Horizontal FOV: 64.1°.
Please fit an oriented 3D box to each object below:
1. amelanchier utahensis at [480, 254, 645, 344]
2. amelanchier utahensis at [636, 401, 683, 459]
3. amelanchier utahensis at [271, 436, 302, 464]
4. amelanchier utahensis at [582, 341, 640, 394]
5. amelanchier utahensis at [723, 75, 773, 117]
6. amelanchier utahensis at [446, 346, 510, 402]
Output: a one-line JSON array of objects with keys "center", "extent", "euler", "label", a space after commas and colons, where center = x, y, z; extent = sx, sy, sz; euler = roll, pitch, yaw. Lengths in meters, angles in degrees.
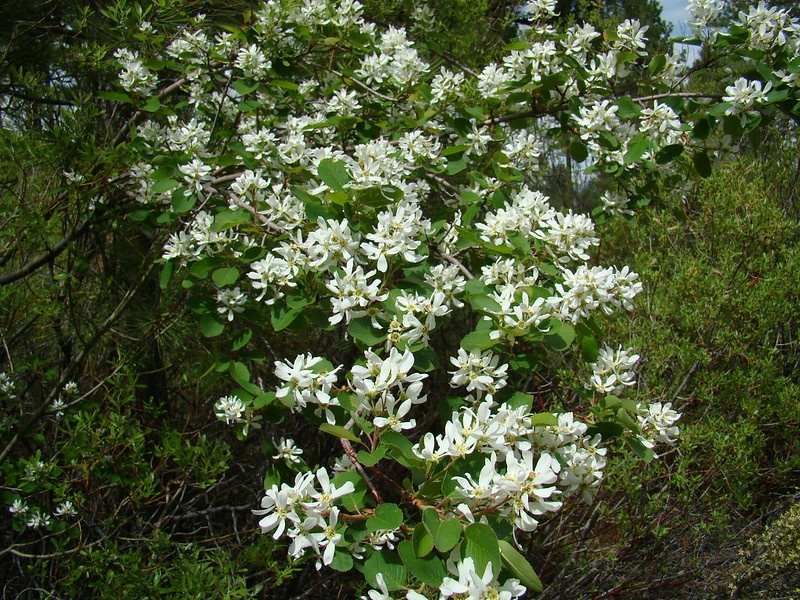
[{"center": [0.684, -0.014, 2.722], "extent": [0.695, 0.360, 0.218], "euler": [-2, -9, -10], "label": "amelanchier utahensis"}, {"center": [1.115, 0.540, 2.745], "extent": [0.134, 0.185, 0.305], "euler": [-9, -11, 34], "label": "amelanchier utahensis"}, {"center": [-0.535, 0.711, 3.000], "extent": [0.122, 0.114, 0.324], "euler": [-1, -10, -12], "label": "amelanchier utahensis"}, {"center": [0.950, 0.311, 2.848], "extent": [0.228, 0.209, 0.250], "euler": [-4, -9, 4], "label": "amelanchier utahensis"}, {"center": [1.664, -0.988, 3.066], "extent": [0.205, 0.156, 0.164], "euler": [-8, -10, 25], "label": "amelanchier utahensis"}, {"center": [0.308, 0.312, 2.674], "extent": [0.235, 0.209, 0.302], "euler": [-1, -10, -14], "label": "amelanchier utahensis"}]
